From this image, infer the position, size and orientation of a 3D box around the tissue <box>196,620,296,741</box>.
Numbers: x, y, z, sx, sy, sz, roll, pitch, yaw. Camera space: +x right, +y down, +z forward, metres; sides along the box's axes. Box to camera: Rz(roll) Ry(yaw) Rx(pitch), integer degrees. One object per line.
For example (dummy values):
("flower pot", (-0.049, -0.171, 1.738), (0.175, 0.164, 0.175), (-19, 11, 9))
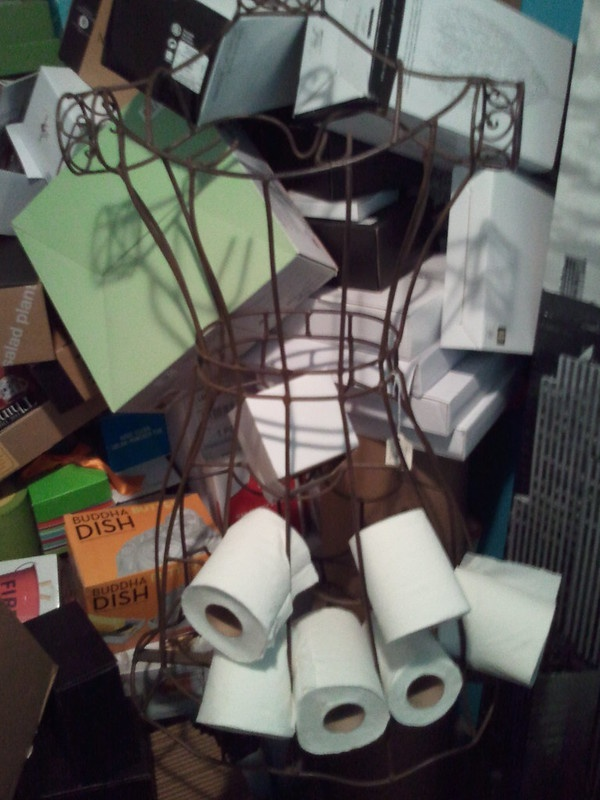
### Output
("tissue", (-0.037, 0.252, 0.604), (0.072, 0.073, 0.130), (1, 50, 1))

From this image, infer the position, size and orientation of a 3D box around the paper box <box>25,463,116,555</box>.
("paper box", (-0.363, 0.155, 1.021), (0.099, 0.085, 0.122), (-9, 26, 1))

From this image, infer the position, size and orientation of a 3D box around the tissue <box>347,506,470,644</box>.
("tissue", (0.094, 0.147, 0.548), (0.067, 0.049, 0.092), (-10, 32, -15))

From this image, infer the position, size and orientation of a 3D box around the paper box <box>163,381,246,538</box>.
("paper box", (-0.120, 0.078, 0.842), (0.077, 0.182, 0.151), (-21, 3, -20))

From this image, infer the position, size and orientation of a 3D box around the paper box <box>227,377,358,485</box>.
("paper box", (-0.017, 0.031, 0.603), (0.092, 0.117, 0.026), (-20, -12, -6))

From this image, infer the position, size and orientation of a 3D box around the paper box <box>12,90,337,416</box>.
("paper box", (-0.141, -0.181, 0.893), (0.329, 0.387, 0.220), (-35, -6, 14))
